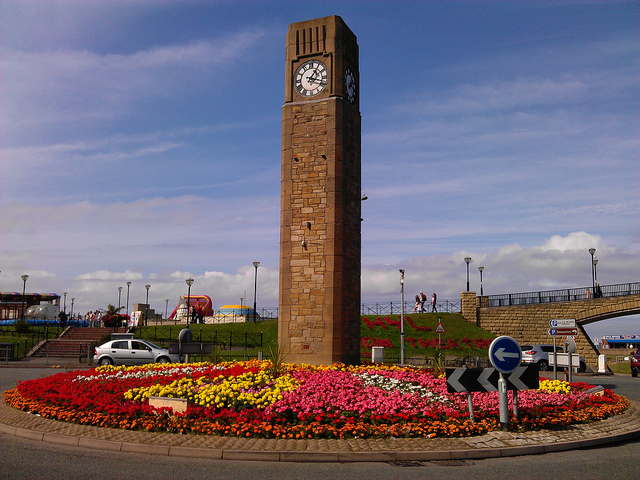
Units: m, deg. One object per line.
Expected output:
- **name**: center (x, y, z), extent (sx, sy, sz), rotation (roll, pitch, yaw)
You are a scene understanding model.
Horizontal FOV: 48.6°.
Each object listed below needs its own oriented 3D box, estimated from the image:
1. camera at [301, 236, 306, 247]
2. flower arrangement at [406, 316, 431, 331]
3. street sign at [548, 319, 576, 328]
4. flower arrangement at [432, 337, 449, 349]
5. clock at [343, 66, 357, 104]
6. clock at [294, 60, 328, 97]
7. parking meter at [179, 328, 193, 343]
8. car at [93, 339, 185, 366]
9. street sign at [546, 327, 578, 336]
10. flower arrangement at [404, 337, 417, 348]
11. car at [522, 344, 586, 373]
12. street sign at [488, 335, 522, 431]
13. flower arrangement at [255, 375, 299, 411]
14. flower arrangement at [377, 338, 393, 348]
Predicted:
- **camera**: center (-0.646, 0.060, 27.974), extent (0.170, 0.420, 0.068), rotation (0, -1, 40)
- **flower arrangement**: center (6.929, 5.981, 50.630), extent (1.162, 0.622, 2.954), rotation (0, 0, -12)
- **street sign**: center (8.899, 3.047, 26.009), extent (0.933, 0.361, 0.642), rotation (0, 0, 29)
- **flower arrangement**: center (7.788, 6.646, 45.791), extent (0.747, 0.299, 0.722), rotation (-3, -17, 44)
- **clock**: center (1.306, -6.575, 30.012), extent (0.323, 1.605, 1.811), rotation (0, 0, 11)
- **clock**: center (-0.313, -6.592, 29.162), extent (1.555, 1.520, 0.103), rotation (-7, -16, 19)
- **parking meter**: center (-4.849, 3.431, 25.521), extent (0.194, 0.533, 0.545), rotation (-4, -5, 33)
- **car**: center (-8.600, 5.262, 32.482), extent (3.719, 1.305, 1.483), rotation (0, -4, -4)
- **street sign**: center (8.967, 3.380, 26.060), extent (0.883, 0.397, 1.326), rotation (0, 0, 26)
- **flower arrangement**: center (5.974, 6.640, 46.091), extent (0.346, 0.353, 1.568), rotation (-12, 22, -3)
- **car**: center (12.051, 6.297, 38.080), extent (3.869, 1.526, 2.139), rotation (0, 0, -31)
- **street sign**: center (4.599, 3.546, 17.694), extent (0.922, 2.241, 0.328), rotation (4, -3, -13)
- **flower arrangement**: center (-1.136, 4.084, 19.068), extent (0.557, 0.551, 0.586), rotation (-2, 1, 30)
- **flower arrangement**: center (4.108, 6.547, 45.214), extent (0.621, 0.377, 0.687), rotation (3, 3, -29)
